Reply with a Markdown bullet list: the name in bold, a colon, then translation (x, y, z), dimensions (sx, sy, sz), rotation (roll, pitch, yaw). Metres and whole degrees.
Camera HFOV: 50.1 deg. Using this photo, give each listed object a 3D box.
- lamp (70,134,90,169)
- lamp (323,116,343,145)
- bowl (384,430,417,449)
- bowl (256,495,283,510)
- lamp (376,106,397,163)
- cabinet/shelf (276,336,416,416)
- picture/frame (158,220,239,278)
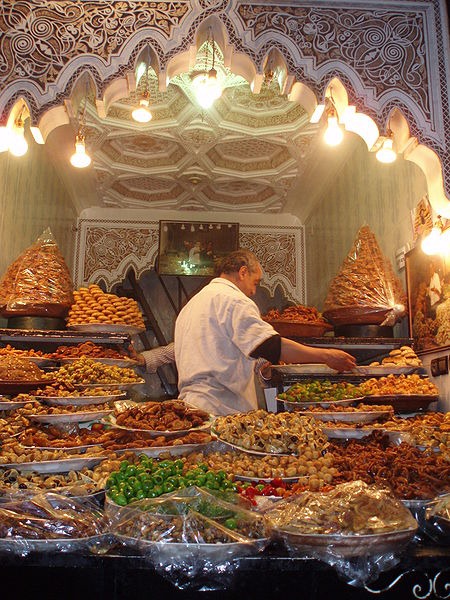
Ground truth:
- **lamp**: translation (-0.947, -0.988, 3.153), dimensions (0.111, 0.262, 0.372), rotation (-2, 3, -17)
- **lamp**: translation (0.691, -1.101, 3.109), dimensions (0.102, 0.182, 0.292), rotation (-1, 2, 9)
- **bowl**: translation (0.725, 0.578, 2.009), dimensions (0.130, 0.030, 0.123), rotation (-2, 0, 0)
- **bowl**: translation (0.112, 0.541, 1.304), dimensions (0.055, 0.031, 0.046), rotation (0, -3, 6)
- **lamp**: translation (0.948, -0.954, 2.861), dimensions (0.099, 0.252, 0.206), rotation (0, 3, 19)
- **cabinet/shelf**: translation (0.863, 0.509, 3.441), dimensions (0.977, 0.556, 0.593), rotation (0, -13, -2)
- **picture/frame**: translation (-0.440, -0.778, 7.319), dimensions (1.361, 0.813, 0.097), rotation (0, -13, -4)
